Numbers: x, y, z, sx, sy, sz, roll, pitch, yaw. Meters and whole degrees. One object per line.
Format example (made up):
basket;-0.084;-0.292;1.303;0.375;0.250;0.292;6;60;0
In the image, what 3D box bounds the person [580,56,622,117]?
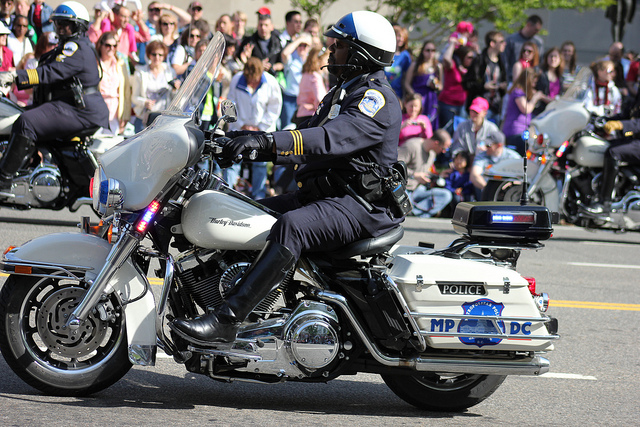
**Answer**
person;4.506;-2.018;14.244;0.715;1.191;0.425;-3;5;7
